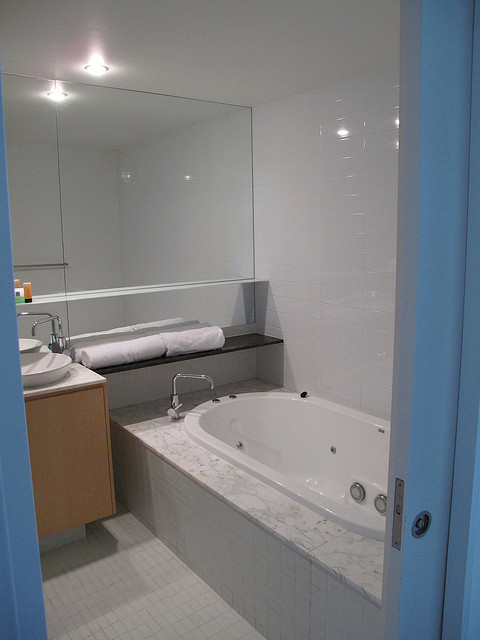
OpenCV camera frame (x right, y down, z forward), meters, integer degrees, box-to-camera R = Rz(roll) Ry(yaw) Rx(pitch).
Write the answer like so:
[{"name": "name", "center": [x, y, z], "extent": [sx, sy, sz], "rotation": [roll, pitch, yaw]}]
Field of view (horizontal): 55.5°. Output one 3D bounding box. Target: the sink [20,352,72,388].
[{"name": "sink", "center": [-0.979, 0.243, 2.356], "extent": [0.242, 0.098, 0.495], "rotation": [-3, 8, -26]}]

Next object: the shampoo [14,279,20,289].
[{"name": "shampoo", "center": [-1.271, -0.211, 2.636], "extent": [0.013, 0.046, 0.029], "rotation": [2, 7, 9]}]

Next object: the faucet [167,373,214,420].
[{"name": "faucet", "center": [-0.305, 0.449, 2.917], "extent": [0.295, 0.368, 0.214], "rotation": [3, 7, 18]}]

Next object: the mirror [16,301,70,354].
[{"name": "mirror", "center": [-1.095, 0.038, 2.537], "extent": [0.243, 0.178, 0.345], "rotation": [4, 6, 31]}]

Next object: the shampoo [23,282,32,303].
[{"name": "shampoo", "center": [-1.225, -0.161, 2.658], "extent": [0.044, 0.114, 0.042], "rotation": [-3, 8, -28]}]

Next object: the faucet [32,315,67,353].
[{"name": "faucet", "center": [-1.086, 0.076, 2.625], "extent": [0.180, 0.223, 0.348], "rotation": [-2, 8, -22]}]

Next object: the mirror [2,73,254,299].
[{"name": "mirror", "center": [-0.729, -0.868, 2.873], "extent": [1.273, 1.060, 0.023], "rotation": [-10, 16, -34]}]
